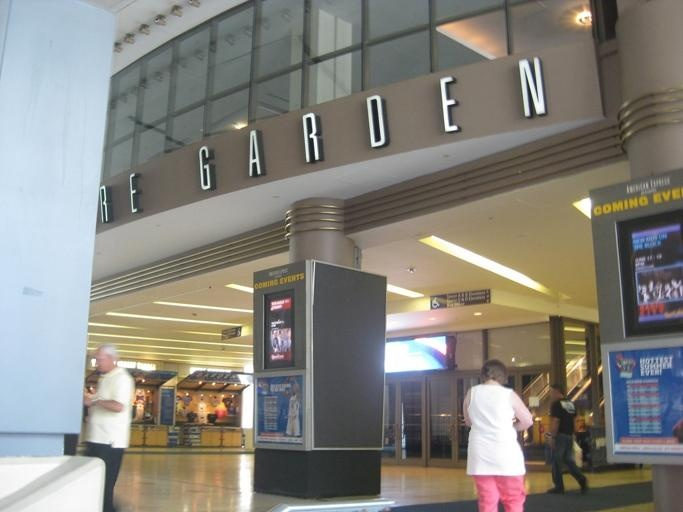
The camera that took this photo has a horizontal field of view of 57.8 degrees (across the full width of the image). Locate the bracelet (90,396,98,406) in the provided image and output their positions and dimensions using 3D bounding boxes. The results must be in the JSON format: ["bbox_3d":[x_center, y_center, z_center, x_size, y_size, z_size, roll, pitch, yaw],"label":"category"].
[{"bbox_3d":[-2.034,1.199,5.083,0.038,0.065,0.065,1,-2,6],"label":"bracelet"}]

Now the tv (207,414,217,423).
[{"bbox_3d":[-5.735,7.138,27.303,0.367,0.302,0.339,1,-12,3],"label":"tv"}]

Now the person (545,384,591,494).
[{"bbox_3d":[3.374,2.716,9.385,0.521,1.547,1.035,-5,-16,20],"label":"person"}]

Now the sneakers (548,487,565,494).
[{"bbox_3d":[3.071,3.340,8.875,0.394,0.079,0.144,10,-18,-33],"label":"sneakers"}]
